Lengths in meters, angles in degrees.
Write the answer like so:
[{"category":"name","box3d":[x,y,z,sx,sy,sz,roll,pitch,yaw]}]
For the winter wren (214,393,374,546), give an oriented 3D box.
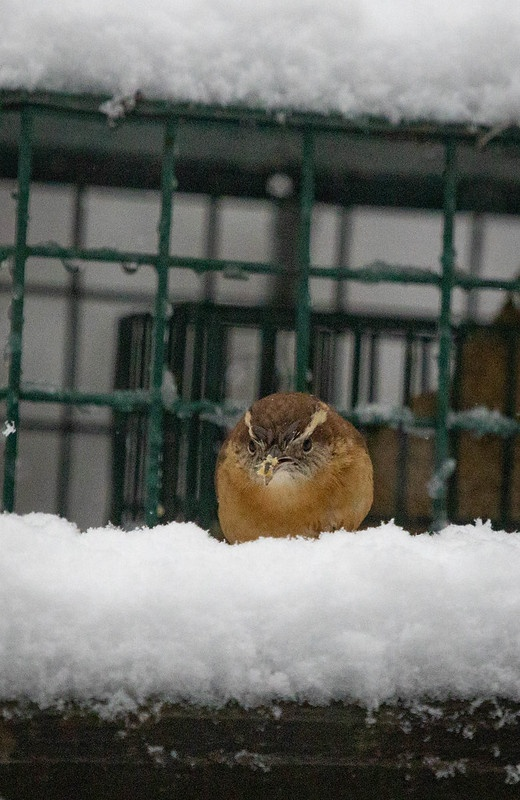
[{"category":"winter wren","box3d":[0.134,0.272,7.673,0.445,0.573,0.684,0,6,5]}]
